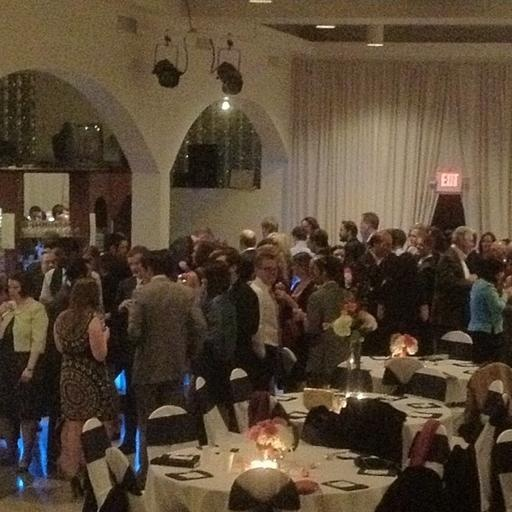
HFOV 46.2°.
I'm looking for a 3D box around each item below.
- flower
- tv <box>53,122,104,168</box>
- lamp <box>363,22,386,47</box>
[{"bbox_3d":[0.573,0.354,3.643,0.228,0.147,0.250,-3,18,38],"label":"flower"},{"bbox_3d":[-2.373,-1.464,8.088,0.558,0.611,0.142,-1,24,-18],"label":"tv"},{"bbox_3d":[1.621,-2.997,8.221,0.212,0.311,0.312,1,3,7],"label":"lamp"}]
